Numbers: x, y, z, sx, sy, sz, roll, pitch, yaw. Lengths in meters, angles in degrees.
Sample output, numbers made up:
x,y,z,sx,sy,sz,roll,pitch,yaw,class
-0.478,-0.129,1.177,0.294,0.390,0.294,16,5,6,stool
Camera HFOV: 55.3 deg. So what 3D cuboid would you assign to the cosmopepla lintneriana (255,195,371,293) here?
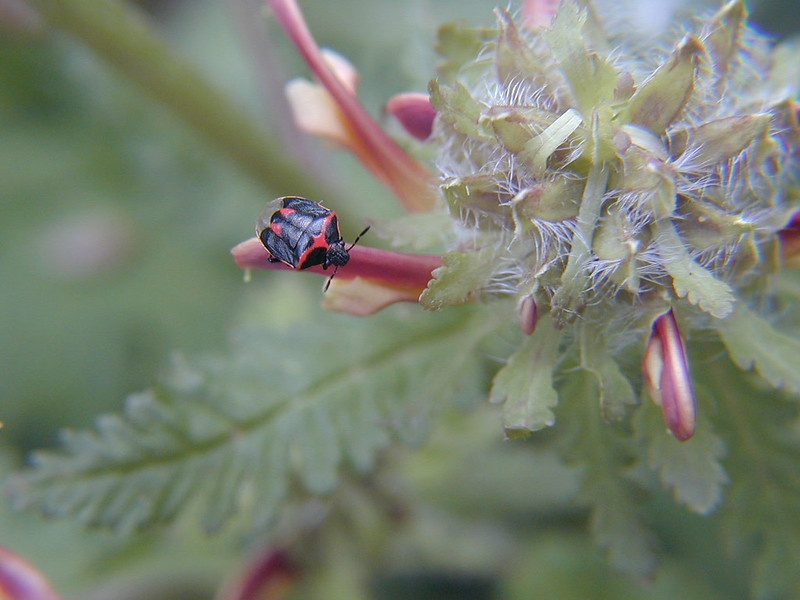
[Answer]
x,y,z,sx,sy,sz,roll,pitch,yaw,class
-0.110,-0.072,0.836,0.117,0.087,0.036,29,32,-19,cosmopepla lintneriana
